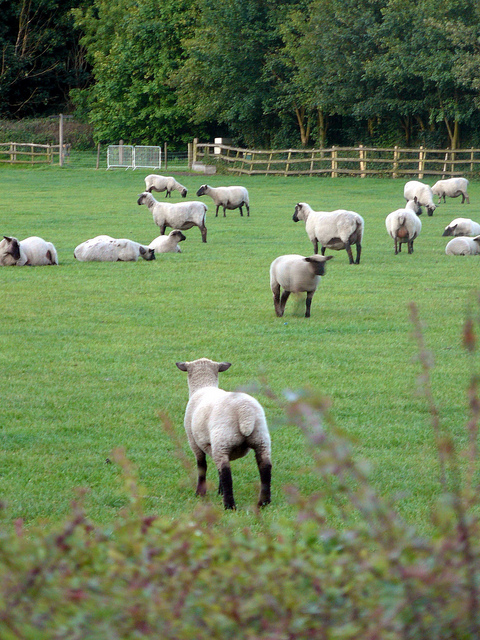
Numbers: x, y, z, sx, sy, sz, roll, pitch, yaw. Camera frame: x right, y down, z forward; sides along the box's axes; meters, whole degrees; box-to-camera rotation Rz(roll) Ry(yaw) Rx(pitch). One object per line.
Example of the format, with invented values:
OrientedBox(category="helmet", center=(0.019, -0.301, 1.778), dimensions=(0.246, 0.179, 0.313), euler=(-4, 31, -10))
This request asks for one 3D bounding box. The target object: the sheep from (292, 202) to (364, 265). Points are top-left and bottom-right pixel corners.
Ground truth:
OrientedBox(category="sheep", center=(1.316, -1.399, 20.782), dimensions=(0.485, 0.931, 1.462), euler=(-5, 10, -40))

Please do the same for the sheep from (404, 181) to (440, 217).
OrientedBox(category="sheep", center=(4.686, -3.215, 34.114), dimensions=(0.549, 0.880, 1.693), euler=(-7, 23, -15))

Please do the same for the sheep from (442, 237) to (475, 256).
OrientedBox(category="sheep", center=(3.653, -1.240, 21.889), dimensions=(0.547, 0.307, 0.674), euler=(3, 9, 10))

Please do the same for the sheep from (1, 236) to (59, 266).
OrientedBox(category="sheep", center=(-3.162, -1.070, 19.904), dimensions=(0.989, 0.527, 0.381), euler=(3, -2, -29))

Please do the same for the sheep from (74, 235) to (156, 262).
OrientedBox(category="sheep", center=(-2.033, -1.158, 21.149), dimensions=(1.267, 0.371, 0.458), euler=(0, 8, -7))

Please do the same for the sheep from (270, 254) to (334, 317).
OrientedBox(category="sheep", center=(0.663, -0.387, 14.564), dimensions=(0.389, 0.713, 1.222), euler=(-4, 6, -24))

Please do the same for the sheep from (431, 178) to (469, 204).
OrientedBox(category="sheep", center=(6.074, -3.842, 38.085), dimensions=(1.504, 0.813, 0.550), euler=(2, 3, 42))

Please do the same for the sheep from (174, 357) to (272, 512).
OrientedBox(category="sheep", center=(-0.140, 0.726, 8.512), dimensions=(0.397, 0.921, 1.191), euler=(-2, 1, -18))

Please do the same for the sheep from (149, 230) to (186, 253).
OrientedBox(category="sheep", center=(-1.244, -1.380, 22.723), dimensions=(0.612, 0.448, 0.306), euler=(-13, 13, 0))

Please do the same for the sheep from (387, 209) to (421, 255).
OrientedBox(category="sheep", center=(2.717, -1.504, 21.991), dimensions=(0.502, 0.727, 0.824), euler=(2, 8, 6))
